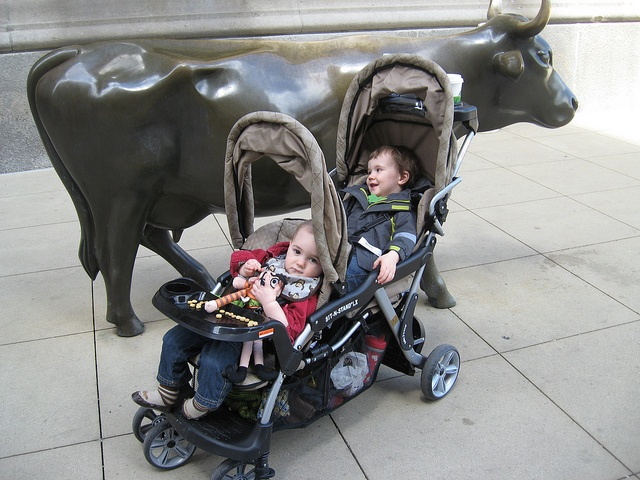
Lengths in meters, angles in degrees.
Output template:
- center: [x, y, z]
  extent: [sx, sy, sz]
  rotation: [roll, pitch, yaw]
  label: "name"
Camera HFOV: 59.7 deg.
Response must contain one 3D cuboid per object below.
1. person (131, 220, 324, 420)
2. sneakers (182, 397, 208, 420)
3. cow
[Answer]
- center: [-0.532, 0.500, 3.329]
  extent: [0.612, 0.773, 1.098]
  rotation: [19, 26, 31]
  label: "person"
- center: [-0.712, 0.949, 3.120]
  extent: [0.170, 0.075, 0.095]
  rotation: [24, -3, 37]
  label: "sneakers"
- center: [0.513, -1.356, 5.958]
  extent: [5.923, 3.367, 1.805]
  rotation: [-9, 26, -14]
  label: "cow"
